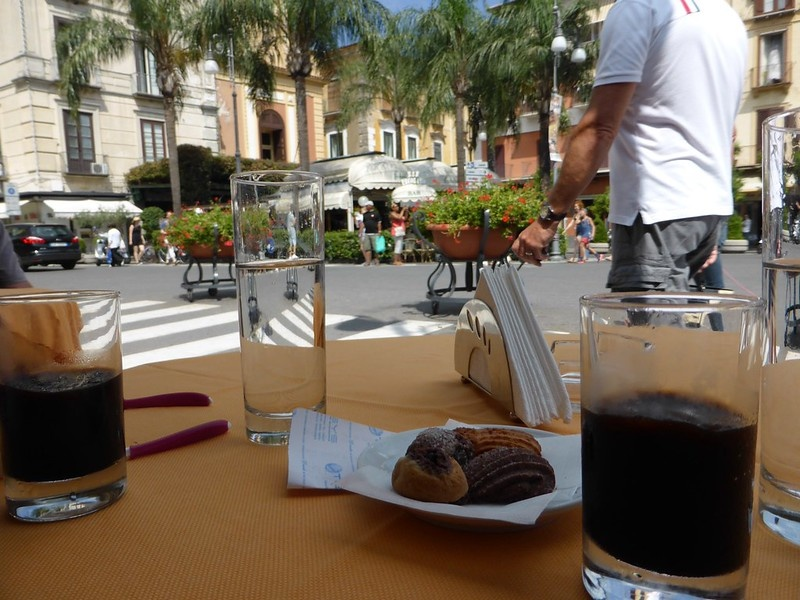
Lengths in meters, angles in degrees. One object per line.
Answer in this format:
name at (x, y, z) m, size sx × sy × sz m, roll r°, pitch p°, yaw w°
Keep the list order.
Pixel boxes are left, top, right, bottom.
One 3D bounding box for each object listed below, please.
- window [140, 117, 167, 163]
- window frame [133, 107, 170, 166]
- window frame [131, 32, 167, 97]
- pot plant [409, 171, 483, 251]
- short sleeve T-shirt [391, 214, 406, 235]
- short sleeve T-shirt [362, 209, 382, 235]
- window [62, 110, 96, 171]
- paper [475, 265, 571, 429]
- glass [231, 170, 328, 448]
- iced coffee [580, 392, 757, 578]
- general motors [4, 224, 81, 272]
window at (-9.178, -5.878, 24.526) m, size 0.819 × 1.570 × 0.139 m, roll -4°, pitch -2°, yaw -28°
window frame at (-9.155, -5.861, 24.512) m, size 0.864 × 1.668 × 0.140 m, roll 5°, pitch 24°, yaw 0°
window frame at (-9.254, -8.299, 23.969) m, size 0.781 × 1.782 × 1.286 m, roll -5°, pitch 13°, yaw -21°
pot plant at (0.414, -0.586, 5.112) m, size 0.573 × 0.466 × 0.583 m, roll -3°, pitch 2°, yaw -7°
short sleeve T-shirt at (-0.068, -1.484, 13.118) m, size 0.308 × 0.474 × 0.366 m, roll -13°, pitch 12°, yaw -7°
short sleeve T-shirt at (-0.616, -1.682, 14.100) m, size 0.356 × 0.487 × 0.460 m, roll -1°, pitch 12°, yaw -4°
window at (-10.884, -5.364, 22.384) m, size 0.954 × 2.082 × 0.399 m, roll -7°, pitch 14°, yaw -30°
paper at (0.205, 0.068, 1.159) m, size 0.089 × 0.255 × 0.183 m, roll -21°, pitch -8°, yaw 12°
glass at (-0.203, 0.019, 1.139) m, size 0.151 × 0.460 × 0.150 m, roll 4°, pitch 11°, yaw 14°
iced coffee at (0.272, 0.191, 0.730) m, size 0.151 × 0.171 × 0.173 m, roll 0°, pitch 1°, yaw 4°
general motors at (-8.302, -1.286, 15.449) m, size 1.388 × 0.940 × 0.791 m, roll -6°, pitch 13°, yaw -28°
